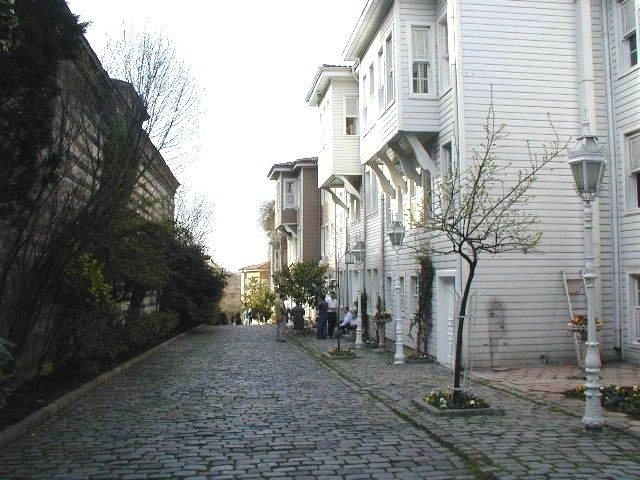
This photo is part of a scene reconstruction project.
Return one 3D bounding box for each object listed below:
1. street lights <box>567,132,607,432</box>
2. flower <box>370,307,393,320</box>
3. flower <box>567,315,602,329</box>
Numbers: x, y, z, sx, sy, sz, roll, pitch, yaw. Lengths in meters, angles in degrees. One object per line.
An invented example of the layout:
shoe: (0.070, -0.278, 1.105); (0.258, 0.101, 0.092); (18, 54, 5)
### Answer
street lights: (4.311, 0.564, 8.732); (0.512, 4.663, 0.927); (-2, -3, 28)
flower: (2.314, 2.730, 20.128); (0.393, 0.407, 0.447); (4, -4, 2)
flower: (6.800, 2.136, 14.176); (0.489, 0.260, 0.525); (0, -6, 11)
